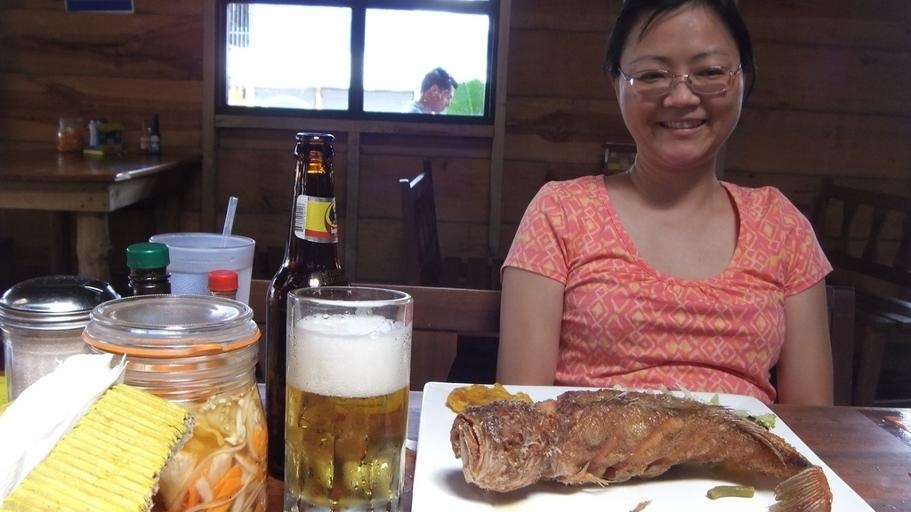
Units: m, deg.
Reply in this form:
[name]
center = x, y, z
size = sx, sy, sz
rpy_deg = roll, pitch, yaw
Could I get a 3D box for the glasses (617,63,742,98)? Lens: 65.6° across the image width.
[glasses]
center = 0.708, -0.539, 2.199
size = 0.342, 0.097, 0.059
rpy_deg = 3, 9, 7

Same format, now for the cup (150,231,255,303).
[cup]
center = -0.643, 0.003, 1.771
size = 0.234, 0.218, 0.204
rpy_deg = 3, 13, 1
